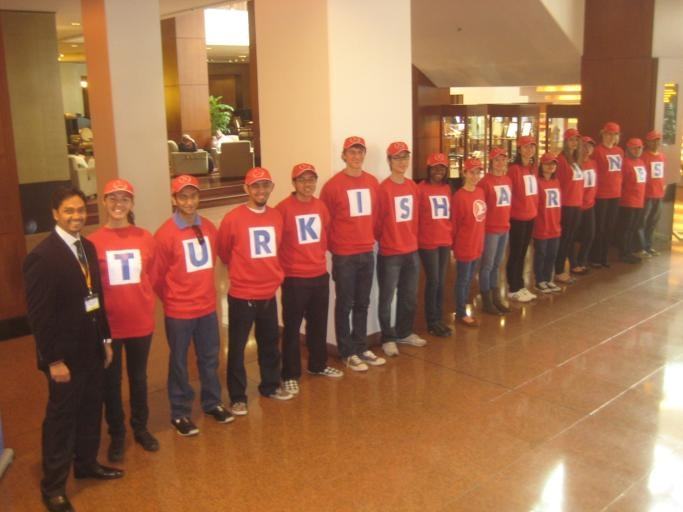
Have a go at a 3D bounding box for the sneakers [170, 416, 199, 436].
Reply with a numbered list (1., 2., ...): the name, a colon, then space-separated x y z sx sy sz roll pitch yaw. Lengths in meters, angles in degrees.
1. sneakers: -1.242 1.363 4.521 0.209 0.090 0.108 13 15 43

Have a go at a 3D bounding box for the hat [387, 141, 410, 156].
1. hat: 0.542 -1.058 5.651 0.193 0.158 0.317 -1 1 -7

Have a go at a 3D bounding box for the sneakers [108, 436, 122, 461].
1. sneakers: -1.673 1.449 4.196 0.075 0.133 0.211 1 5 -10

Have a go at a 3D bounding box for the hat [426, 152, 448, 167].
1. hat: 1.030 -1.021 6.000 0.190 0.139 0.191 -3 13 4

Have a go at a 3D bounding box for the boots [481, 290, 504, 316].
1. boots: 1.835 0.585 6.875 0.146 0.274 0.383 -11 8 -34

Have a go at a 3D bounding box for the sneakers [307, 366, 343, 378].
1. sneakers: -0.151 1.096 5.405 0.295 0.082 0.118 -3 8 20

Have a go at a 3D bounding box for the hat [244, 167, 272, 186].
1. hat: -0.696 -0.680 4.730 0.220 0.167 0.362 3 11 -6

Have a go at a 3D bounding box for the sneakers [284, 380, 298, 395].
1. sneakers: -0.438 1.197 5.073 0.074 0.062 0.143 -2 -2 -20

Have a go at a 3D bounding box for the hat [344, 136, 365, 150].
1. hat: 0.116 -1.037 5.300 0.181 0.138 0.301 3 -3 -2

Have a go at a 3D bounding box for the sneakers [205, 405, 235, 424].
1. sneakers: -1.000 1.320 4.676 0.270 0.104 0.108 11 19 31

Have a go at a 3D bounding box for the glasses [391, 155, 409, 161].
1. glasses: 0.587 -0.976 5.618 0.148 0.071 0.094 9 7 36

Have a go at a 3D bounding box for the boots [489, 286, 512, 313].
1. boots: 1.973 0.553 6.919 0.145 0.279 0.397 -6 10 -22

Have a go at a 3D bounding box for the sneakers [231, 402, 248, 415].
1. sneakers: -0.861 1.292 4.747 0.077 0.051 0.140 -1 -3 -18

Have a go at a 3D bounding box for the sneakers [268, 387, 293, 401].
1. sneakers: -0.538 1.224 4.990 0.193 0.081 0.091 -1 11 11

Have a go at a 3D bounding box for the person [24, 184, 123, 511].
1. person: -1.819 0.613 3.715 0.312 2.071 0.647 2 14 25

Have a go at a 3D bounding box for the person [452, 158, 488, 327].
1. person: 1.479 -0.173 6.497 0.376 1.898 0.483 -1 13 14

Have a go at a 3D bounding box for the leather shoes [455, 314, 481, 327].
1. leather shoes: 1.467 0.754 6.546 0.218 0.088 0.120 11 20 42

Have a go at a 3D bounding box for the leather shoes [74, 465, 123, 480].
1. leather shoes: -1.742 1.553 4.005 0.291 0.120 0.099 -2 6 -5

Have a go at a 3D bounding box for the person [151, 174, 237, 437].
1. person: -1.197 0.393 4.494 0.556 2.035 0.388 -9 14 -21
